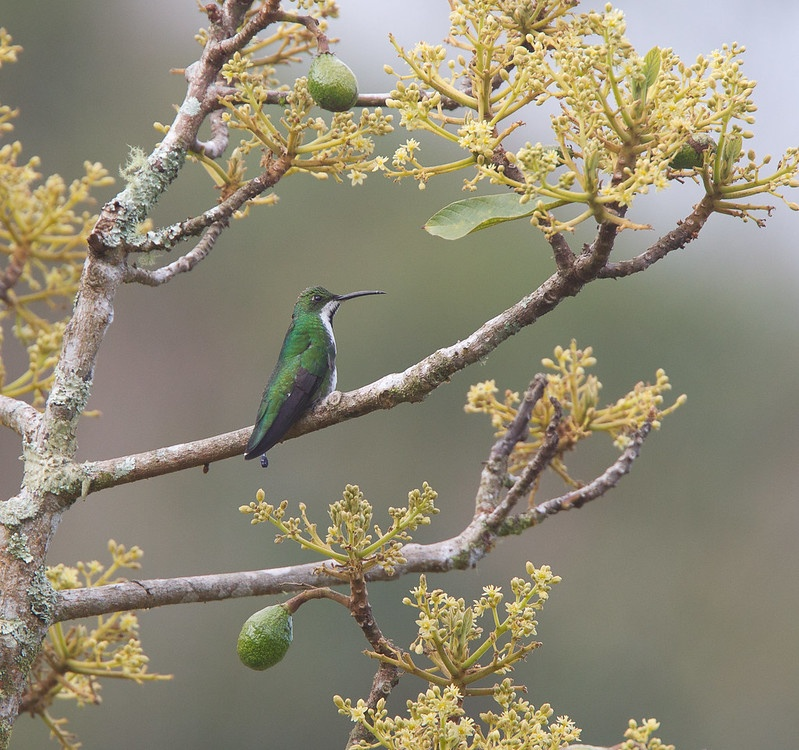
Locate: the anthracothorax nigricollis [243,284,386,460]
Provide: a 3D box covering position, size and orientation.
[{"bbox_3d":[-0.318,-0.056,4.032,0.303,1.049,0.302,12,-53,-8],"label":"anthracothorax nigricollis"}]

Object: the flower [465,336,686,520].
[{"bbox_3d":[0.564,0.106,4.024,0.631,0.667,0.544,-3,-87,-26],"label":"flower"}]
